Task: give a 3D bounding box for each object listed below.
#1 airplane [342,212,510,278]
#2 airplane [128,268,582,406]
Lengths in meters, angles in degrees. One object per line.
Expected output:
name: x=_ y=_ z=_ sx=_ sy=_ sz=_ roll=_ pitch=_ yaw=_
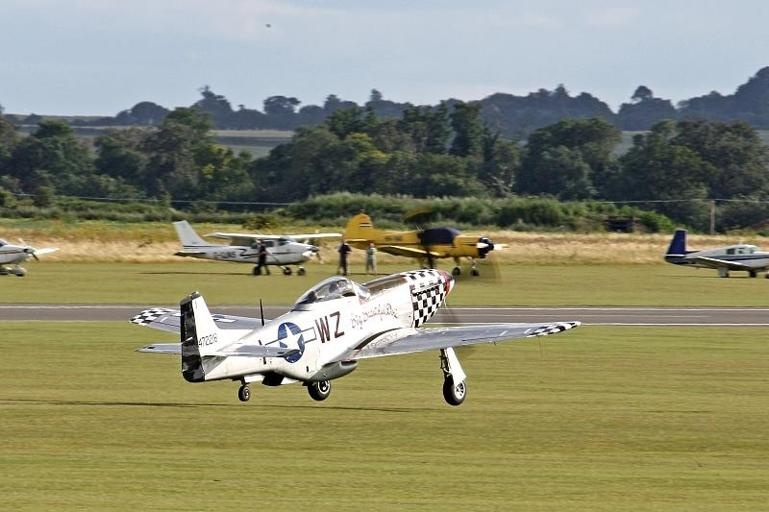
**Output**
airplane: x=2.333 y=-1.064 z=116.092 sx=9.595 sy=1.924 sz=8.820 roll=5 pitch=7 yaw=26
airplane: x=-3.535 y=5.214 z=92.058 sx=20.980 sy=7.927 sz=3.833 roll=0 pitch=12 yaw=-5
